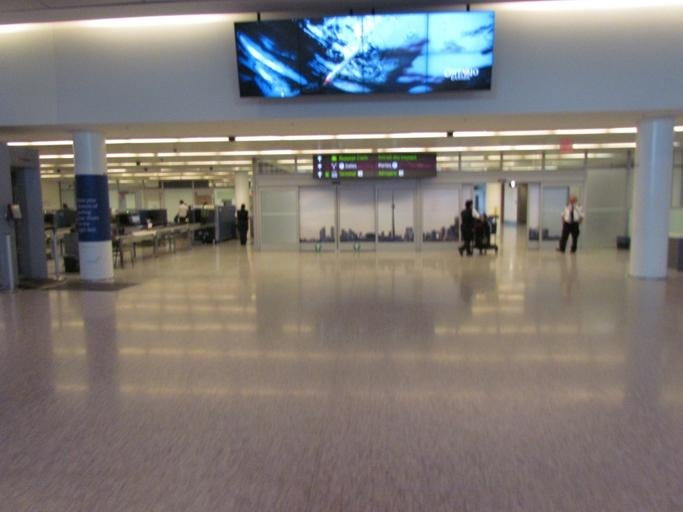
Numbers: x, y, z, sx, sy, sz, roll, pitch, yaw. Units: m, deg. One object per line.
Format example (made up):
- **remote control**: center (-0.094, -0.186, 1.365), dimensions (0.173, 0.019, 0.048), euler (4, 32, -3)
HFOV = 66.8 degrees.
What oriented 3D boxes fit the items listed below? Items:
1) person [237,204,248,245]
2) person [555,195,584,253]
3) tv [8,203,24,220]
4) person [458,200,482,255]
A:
- **person**: center (-4.087, -1.264, 21.521), dimensions (0.420, 1.437, 1.198), euler (-3, 9, -12)
- **person**: center (7.375, -1.033, 16.668), dimensions (0.498, 1.808, 0.638), euler (-8, 12, -40)
- **tv**: center (-7.181, -0.987, 11.374), dimensions (0.202, 0.341, 0.328), euler (-5, 10, -22)
- **person**: center (4.033, -0.918, 16.343), dimensions (0.531, 1.708, 1.208), euler (1, 9, 13)
